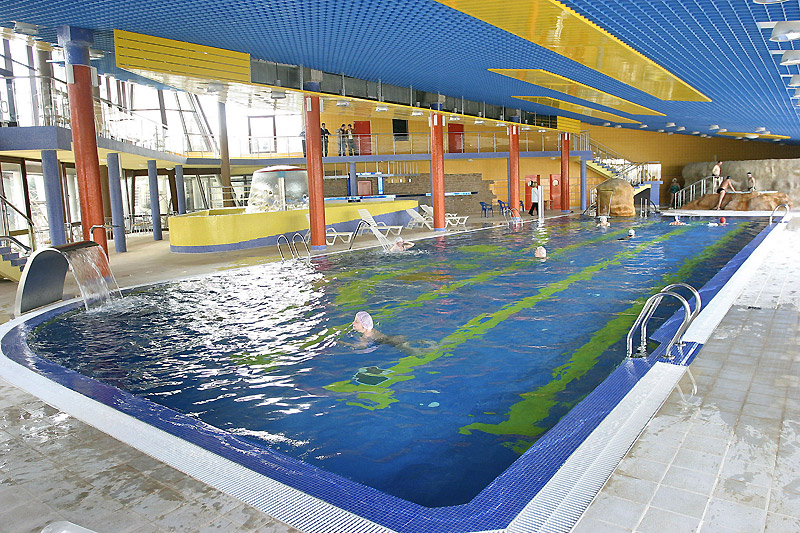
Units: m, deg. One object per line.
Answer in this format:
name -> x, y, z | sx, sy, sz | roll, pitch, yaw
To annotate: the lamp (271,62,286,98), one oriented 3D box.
lamp -> -3.483, -5.219, 12.764 | 0.403, 0.637, 1.264 | -7, 10, -12
